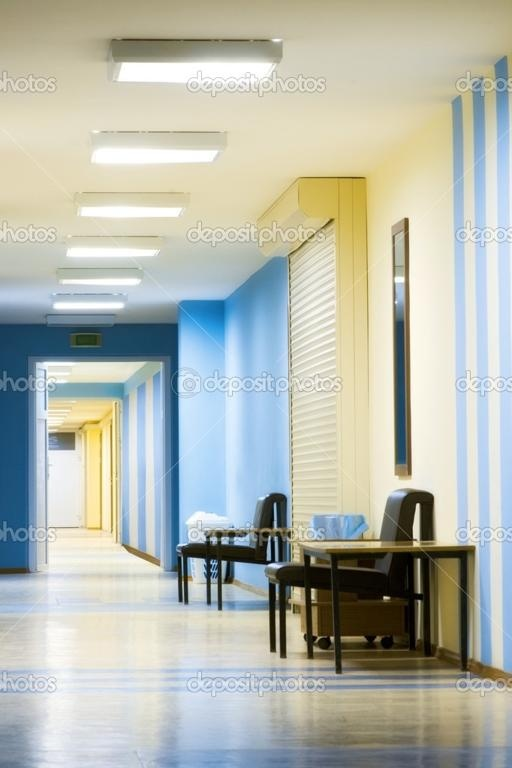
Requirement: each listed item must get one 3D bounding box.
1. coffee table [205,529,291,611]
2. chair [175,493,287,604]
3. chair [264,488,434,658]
[{"bbox_3d":[-0.145,1.417,6.607,0.779,0.809,0.703,-2,-11,6],"label":"coffee table"},{"bbox_3d":[-0.157,1.336,6.847,1.068,1.117,0.893,2,-9,-12],"label":"chair"},{"bbox_3d":[0.482,0.936,4.172,0.758,0.801,0.510,-1,-4,8],"label":"chair"}]
